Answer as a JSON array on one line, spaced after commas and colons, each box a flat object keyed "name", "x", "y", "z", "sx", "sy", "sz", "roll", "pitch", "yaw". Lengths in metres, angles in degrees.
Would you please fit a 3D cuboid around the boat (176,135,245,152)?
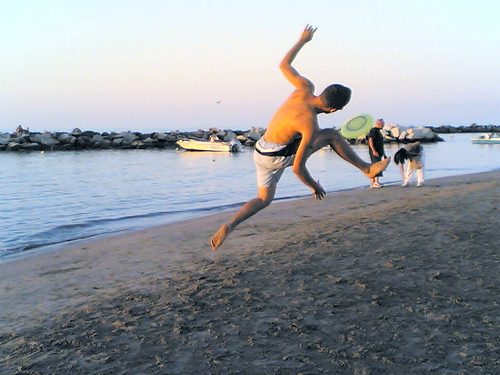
[{"name": "boat", "x": -4.815, "y": -5.294, "z": 50.903, "sx": 7.221, "sy": 1.546, "sz": 2.781, "roll": 1, "pitch": 10, "yaw": 27}]

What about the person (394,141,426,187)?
[{"name": "person", "x": 5.361, "y": -0.732, "z": 13.544, "sx": 1.023, "sy": 1.480, "sz": 0.646, "roll": -3, "pitch": 14, "yaw": 5}]
